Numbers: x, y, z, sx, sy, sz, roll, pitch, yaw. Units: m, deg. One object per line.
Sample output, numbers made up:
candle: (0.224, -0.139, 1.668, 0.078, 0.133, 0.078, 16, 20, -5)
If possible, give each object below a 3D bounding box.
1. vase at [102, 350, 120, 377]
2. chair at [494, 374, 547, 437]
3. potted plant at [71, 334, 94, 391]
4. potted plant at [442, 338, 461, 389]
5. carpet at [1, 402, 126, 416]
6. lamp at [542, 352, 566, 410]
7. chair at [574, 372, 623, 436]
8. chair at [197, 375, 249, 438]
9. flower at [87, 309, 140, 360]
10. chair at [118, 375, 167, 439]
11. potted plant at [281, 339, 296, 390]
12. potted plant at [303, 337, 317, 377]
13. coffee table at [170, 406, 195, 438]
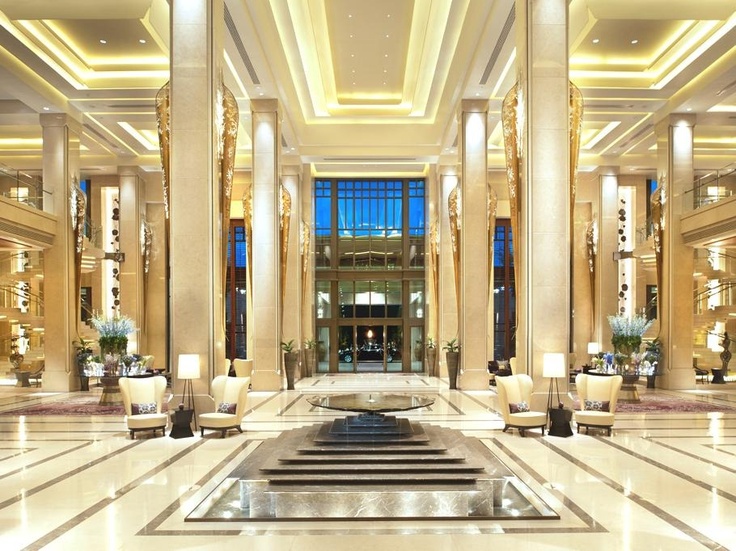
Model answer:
vase: (-7.129, 2.438, 15.676, 0.443, 0.592, 0.508, 0, -1, -25)
chair: (2.996, 2.525, 11.129, 1.021, 1.007, 0.920, -1, -3, 27)
potted plant: (-8.783, 2.722, 17.480, 0.562, 1.699, 0.509, 0, -1, -3)
potted plant: (2.725, 2.909, 18.310, 0.659, 1.497, 0.699, -6, -12, 30)
carpet: (-7.471, 3.329, 14.050, 2.756, 0.112, 1.669, 0, -1, 3)
lamp: (3.641, 2.063, 11.101, 0.447, 1.107, 0.666, 0, -1, 18)
chair: (4.647, 2.628, 11.496, 0.921, 1.104, 1.055, -3, -4, 26)
chair: (-2.925, 2.584, 11.225, 0.783, 1.084, 0.810, 0, -1, 19)
flower: (-7.359, 1.787, 16.215, 1.192, 1.276, 1.075, -1, -18, -28)
chair: (-4.558, 2.644, 11.501, 0.946, 1.074, 1.008, 3, -2, -31)
potted plant: (-2.575, 2.897, 18.338, 0.511, 1.521, 1.074, 0, -1, -9)
potted plant: (-2.342, 3.281, 22.381, 0.422, 1.497, 1.017, 0, -1, -8)
coffee table: (-3.567, 2.830, 10.965, 0.513, 0.603, 0.496, -1, -2, 6)
